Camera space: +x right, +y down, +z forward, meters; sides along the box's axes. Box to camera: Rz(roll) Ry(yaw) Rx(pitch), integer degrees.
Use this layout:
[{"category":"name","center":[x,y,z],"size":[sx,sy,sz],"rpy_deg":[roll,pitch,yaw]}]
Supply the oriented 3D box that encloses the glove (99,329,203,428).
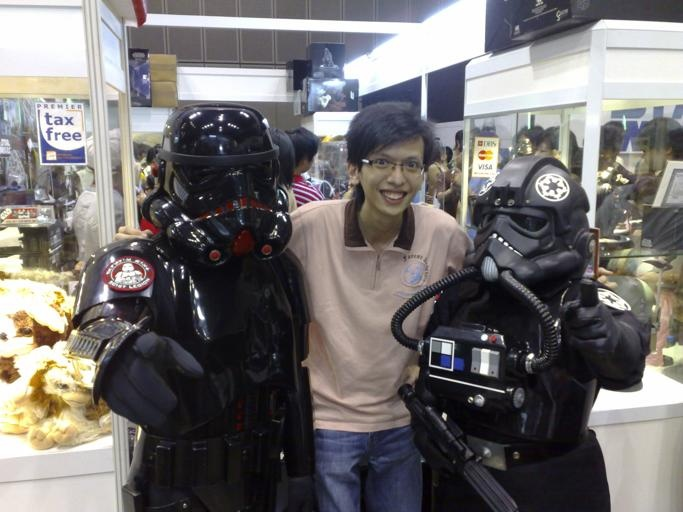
[{"category":"glove","center":[-0.539,0.351,1.491],"size":[0.251,0.263,0.105],"rpy_deg":[38,-16,-19]}]

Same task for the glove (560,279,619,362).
[{"category":"glove","center":[0.761,0.189,1.593],"size":[0.182,0.261,0.306],"rpy_deg":[4,10,24]}]
